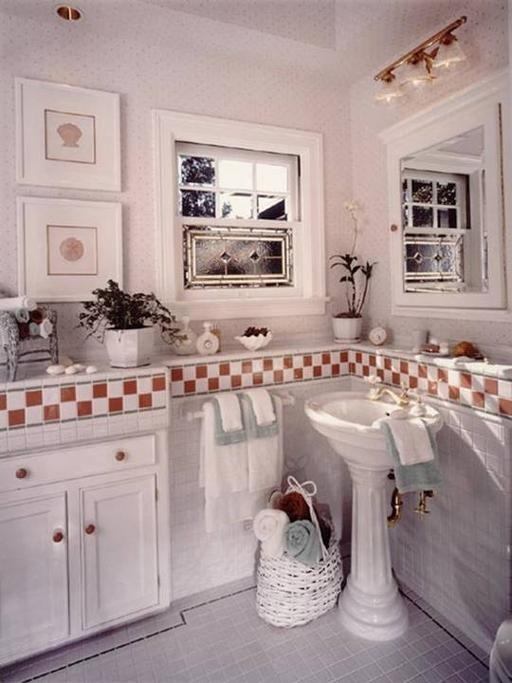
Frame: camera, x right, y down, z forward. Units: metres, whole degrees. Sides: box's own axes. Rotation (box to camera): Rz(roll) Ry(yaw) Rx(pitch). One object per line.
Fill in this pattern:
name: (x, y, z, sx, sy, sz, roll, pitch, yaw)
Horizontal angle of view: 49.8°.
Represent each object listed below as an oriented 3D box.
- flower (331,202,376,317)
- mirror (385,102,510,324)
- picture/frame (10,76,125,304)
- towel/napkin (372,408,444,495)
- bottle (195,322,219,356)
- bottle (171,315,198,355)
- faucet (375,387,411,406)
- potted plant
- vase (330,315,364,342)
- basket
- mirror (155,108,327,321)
flower: (0.511, -0.415, 2.842, 0.228, 0.564, 0.179, 7, 16, 32)
mirror: (0.782, -0.525, 2.322, 0.118, 0.881, 0.778, -6, 14, -18)
picture/frame: (-0.749, -0.597, 2.230, 0.457, 0.862, 0.190, -6, 14, -18)
towel/napkin: (0.524, 0.385, 1.894, 0.230, 0.222, 0.168, -1, 14, 2)
bottle: (-0.215, -0.022, 2.438, 0.104, 0.143, 0.196, -3, 14, -5)
bottle: (-0.296, -0.033, 2.368, 0.153, 0.197, 0.146, 0, -4, 0)
faucet: (0.554, 0.219, 2.225, 0.088, 0.042, 0.117, -2, 12, -27)
potted plant: (-0.490, -0.063, 2.187, 0.393, 0.299, 0.333, -12, 8, -40)
vase: (0.440, -0.065, 2.773, 0.163, 0.127, 0.136, 5, 15, 26)
basket: (0.175, 0.864, 2.255, 0.364, 0.485, 0.273, -3, 14, -5)
mirror: (-0.063, -0.575, 2.637, 0.957, 0.960, 0.262, -8, 15, -26)
